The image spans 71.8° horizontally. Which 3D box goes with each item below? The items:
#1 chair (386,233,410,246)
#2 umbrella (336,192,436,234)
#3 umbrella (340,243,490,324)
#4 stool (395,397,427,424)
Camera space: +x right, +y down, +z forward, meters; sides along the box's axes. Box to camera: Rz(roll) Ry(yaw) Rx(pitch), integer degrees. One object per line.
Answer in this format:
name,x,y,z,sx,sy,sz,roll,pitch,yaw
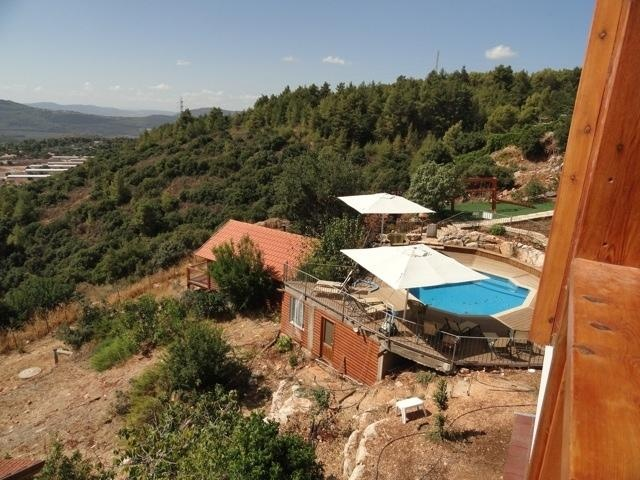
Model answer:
chair,3.635,-0.011,20.490,0.615,0.858,0.677,0,-3,2
umbrella,2.846,-1.494,18.717,2.385,0.920,2.614,-3,12,-20
umbrella,2.548,0.663,12.043,2.139,1.857,2.720,-7,22,-18
stool,2.118,3.939,10.401,0.659,0.350,0.500,-9,22,-16
